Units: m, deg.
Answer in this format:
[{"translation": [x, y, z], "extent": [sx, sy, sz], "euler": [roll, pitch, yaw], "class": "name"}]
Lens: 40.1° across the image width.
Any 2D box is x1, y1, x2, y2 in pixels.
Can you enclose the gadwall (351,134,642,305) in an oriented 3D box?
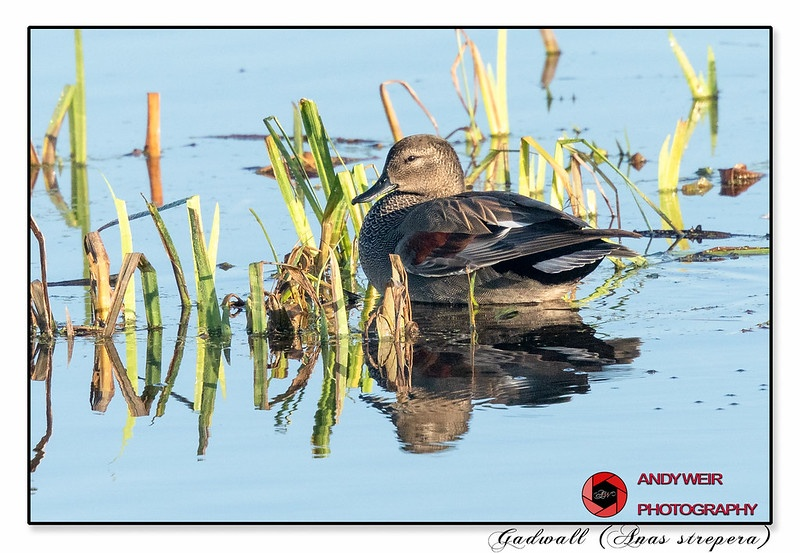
[{"translation": [0.622, -0.508, 9.137], "extent": [1.293, 1.488, 2.187], "euler": [-8, 5, -36], "class": "gadwall"}]
